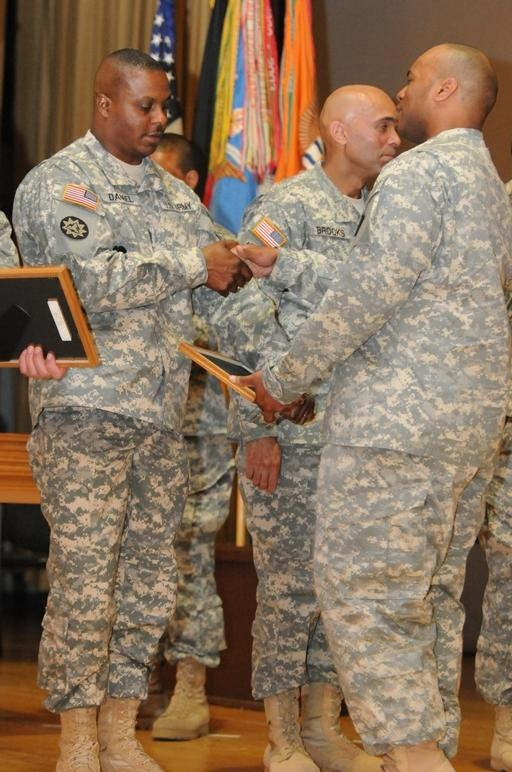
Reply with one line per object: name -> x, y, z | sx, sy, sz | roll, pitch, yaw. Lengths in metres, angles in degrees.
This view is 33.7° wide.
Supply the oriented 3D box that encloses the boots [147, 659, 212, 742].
boots -> -0.208, 0.880, 2.360 | 0.100, 0.191, 0.226 | -15, -22, 25
